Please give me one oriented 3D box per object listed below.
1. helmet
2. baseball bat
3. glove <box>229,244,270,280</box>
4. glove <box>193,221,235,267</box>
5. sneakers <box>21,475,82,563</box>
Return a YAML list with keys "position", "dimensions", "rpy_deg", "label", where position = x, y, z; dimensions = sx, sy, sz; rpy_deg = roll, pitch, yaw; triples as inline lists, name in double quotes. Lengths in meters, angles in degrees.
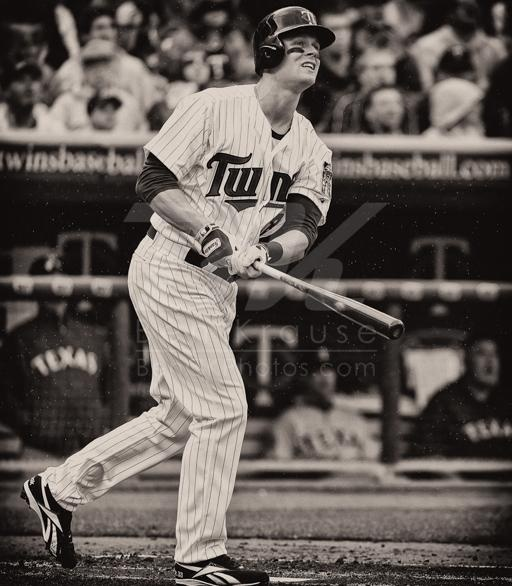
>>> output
- position: [0.105, -0.925, 5.017]
  dimensions: [0.286, 0.213, 0.216]
  rpy_deg: [-16, -16, 35]
  label: "helmet"
- position: [0.247, 0.031, 5.405]
  dimensions: [0.647, 0.096, 0.076]
  rpy_deg: [25, 66, 36]
  label: "baseball bat"
- position: [-0.041, -0.120, 4.807]
  dimensions: [0.087, 0.069, 0.146]
  rpy_deg: [9, 39, 42]
  label: "glove"
- position: [-0.162, -0.165, 4.813]
  dimensions: [0.108, 0.151, 0.063]
  rpy_deg: [-45, -1, 37]
  label: "glove"
- position: [-0.742, 0.843, 5.203]
  dimensions: [0.181, 0.388, 0.134]
  rpy_deg: [-25, 4, 0]
  label: "sneakers"
